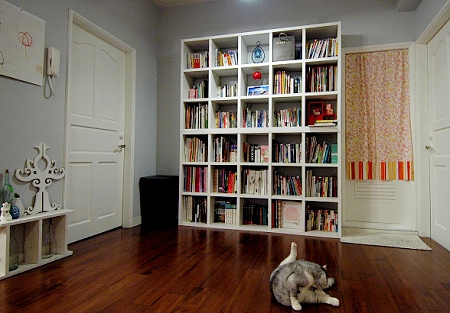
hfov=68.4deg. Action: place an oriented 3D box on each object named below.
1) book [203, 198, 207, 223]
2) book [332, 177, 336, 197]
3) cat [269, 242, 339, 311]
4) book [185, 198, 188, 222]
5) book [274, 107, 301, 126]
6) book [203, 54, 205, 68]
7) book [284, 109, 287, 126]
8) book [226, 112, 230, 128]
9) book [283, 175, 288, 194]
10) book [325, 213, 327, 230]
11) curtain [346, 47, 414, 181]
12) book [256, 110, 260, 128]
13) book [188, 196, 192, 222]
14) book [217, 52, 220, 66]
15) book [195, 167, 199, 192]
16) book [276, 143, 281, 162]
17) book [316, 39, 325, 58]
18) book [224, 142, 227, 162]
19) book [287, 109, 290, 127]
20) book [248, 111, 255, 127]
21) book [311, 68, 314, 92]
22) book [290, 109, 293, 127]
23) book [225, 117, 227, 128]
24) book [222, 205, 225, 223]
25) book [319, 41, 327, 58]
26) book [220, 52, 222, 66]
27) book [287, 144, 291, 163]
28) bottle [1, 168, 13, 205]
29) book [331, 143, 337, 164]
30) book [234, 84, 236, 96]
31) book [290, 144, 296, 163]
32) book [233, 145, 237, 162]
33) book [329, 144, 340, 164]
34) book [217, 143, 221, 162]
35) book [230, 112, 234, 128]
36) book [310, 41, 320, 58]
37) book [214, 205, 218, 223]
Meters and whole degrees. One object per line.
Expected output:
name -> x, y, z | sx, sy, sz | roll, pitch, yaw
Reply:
book -> -0.296, 0.786, 4.864 | 0.052, 0.340, 0.122 | -1, 9, -9
book -> 1.486, 0.404, 4.483 | 0.047, 0.253, 0.062 | 3, 10, 17
cat -> 0.644, 1.068, 2.905 | 0.461, 0.206, 0.365 | 1, 10, 42
book -> -0.581, 0.787, 4.941 | 0.036, 0.325, 0.108 | -1, 9, -9
book -> 0.887, -0.560, 4.685 | 0.258, 0.276, 0.092 | 2, 0, 22
book -> -0.317, -1.442, 4.946 | 0.026, 0.188, 0.044 | 0, 9, -3
book -> 0.854, -0.547, 4.657 | 0.025, 0.214, 0.050 | -6, 11, -36
book -> 0.048, -0.546, 4.887 | 0.047, 0.216, 0.068 | 0, 9, 0
book -> 0.841, 0.397, 4.622 | 0.037, 0.306, 0.224 | 0, 0, 19
book -> 1.379, 0.881, 4.504 | 0.024, 0.215, 0.044 | 1, 9, 3
curtain -> 2.171, -0.591, 4.647 | 0.934, 1.829, 0.359 | 2, 9, 12
book -> 0.476, -0.547, 4.773 | 0.052, 0.223, 0.071 | 1, 9, 2
book -> -0.525, 0.771, 4.921 | 0.056, 0.363, 0.091 | -1, 9, -7
book -> -0.098, -1.448, 4.909 | 0.066, 0.194, 0.040 | 5, 10, 28
book -> -0.416, 0.335, 4.876 | 0.054, 0.336, 0.097 | 0, 9, -5
book -> 0.755, -0.061, 4.676 | 0.114, 0.218, 0.224 | -1, -2, 8
book -> 1.309, -1.473, 4.517 | 0.036, 0.281, 0.211 | 19, 8, -1
book -> 0.006, -0.076, 4.831 | 0.039, 0.269, 0.064 | 1, 9, 1
book -> 0.894, -0.547, 4.647 | 0.032, 0.224, 0.063 | 0, 9, 0
book -> 0.384, -0.545, 4.828 | 0.115, 0.228, 0.225 | 0, -1, 17
book -> 1.216, -1.067, 4.592 | 0.045, 0.311, 0.081 | 2, 9, 11
book -> 0.932, -0.541, 4.642 | 0.045, 0.219, 0.120 | 2, 10, 12
book -> 0.012, -0.509, 4.874 | 0.026, 0.146, 0.035 | 0, 9, -3
book -> -0.024, 0.838, 4.887 | 0.034, 0.249, 0.061 | -1, 9, -9
book -> 1.337, -1.469, 4.506 | 0.064, 0.205, 0.038 | -6, 11, -32
book -> -0.060, -1.442, 4.888 | 0.030, 0.197, 0.094 | 0, 9, -6
book -> 0.898, -0.049, 4.640 | 0.077, 0.236, 0.233 | -1, 0, 12
bottle -> -2.210, 0.304, 3.333 | 0.097, 0.358, 0.134 | -4, 11, -28
book -> 1.469, -0.043, 4.450 | 0.123, 0.250, 0.245 | 0, -1, 15
book -> 0.150, -0.985, 4.909 | 0.028, 0.155, 0.068 | 1, 9, 2
book -> 0.951, -0.051, 4.641 | 0.081, 0.242, 0.062 | -2, 9, -12
book -> 0.143, -0.056, 4.817 | 0.054, 0.230, 0.069 | 2, 9, 8
book -> 1.459, -0.058, 4.474 | 0.166, 0.331, 0.322 | 0, -1, 16
book -> -0.090, -0.068, 4.840 | 0.045, 0.262, 0.046 | 4, 10, 21
book -> 0.101, -0.554, 4.889 | 0.036, 0.166, 0.158 | 3, 9, -5
book -> 1.235, -1.474, 4.538 | 0.039, 0.173, 0.172 | 17, 27, -1
book -> -0.135, 0.839, 4.925 | 0.059, 0.245, 0.057 | 0, 9, -2
